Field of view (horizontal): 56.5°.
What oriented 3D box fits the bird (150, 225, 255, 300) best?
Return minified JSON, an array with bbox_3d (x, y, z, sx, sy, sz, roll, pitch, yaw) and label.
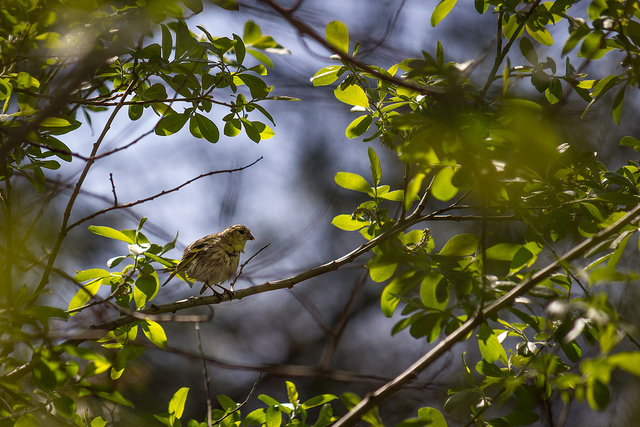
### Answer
[{"bbox_3d":[-1.304,0.524,6.739,1.055,0.846,0.574,1,-16,14],"label":"bird"}]
